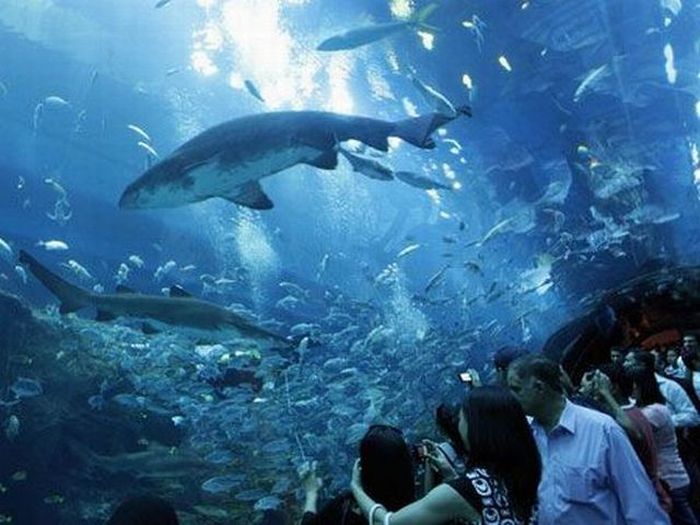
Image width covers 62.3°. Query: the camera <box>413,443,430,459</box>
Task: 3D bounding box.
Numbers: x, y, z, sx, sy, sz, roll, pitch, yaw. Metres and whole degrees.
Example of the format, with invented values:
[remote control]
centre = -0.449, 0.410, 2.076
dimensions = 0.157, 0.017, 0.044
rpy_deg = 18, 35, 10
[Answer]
[camera]
centre = 0.873, 2.303, 7.085
dimensions = 0.261, 0.176, 0.149
rpy_deg = 1, -15, -2
